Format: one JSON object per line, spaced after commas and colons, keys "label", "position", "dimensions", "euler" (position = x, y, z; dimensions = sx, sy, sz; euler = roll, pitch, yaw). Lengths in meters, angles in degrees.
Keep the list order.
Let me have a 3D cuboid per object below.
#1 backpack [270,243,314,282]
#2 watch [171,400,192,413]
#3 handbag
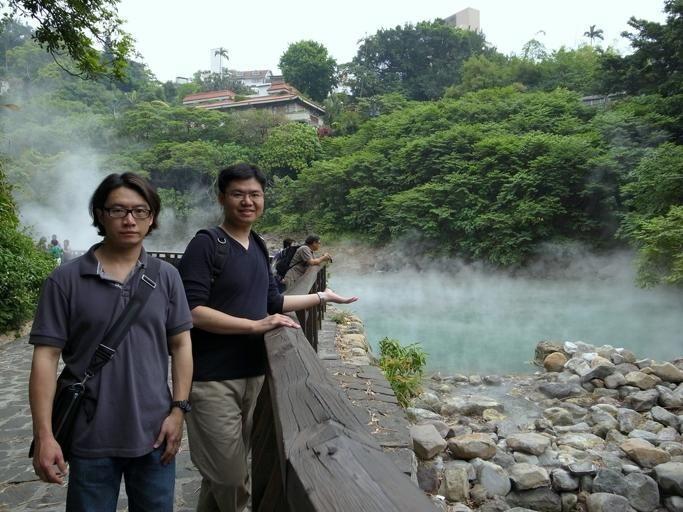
{"label": "backpack", "position": [-0.606, 0.091, 6.918], "dimensions": [0.566, 0.549, 0.396], "euler": [14, 0, 4]}
{"label": "watch", "position": [-0.810, 0.754, 2.572], "dimensions": [0.079, 0.046, 0.059], "euler": [-2, 3, -32]}
{"label": "handbag", "position": [-1.289, 0.714, 2.320], "dimensions": [0.122, 0.330, 0.335], "euler": [14, 13, -29]}
